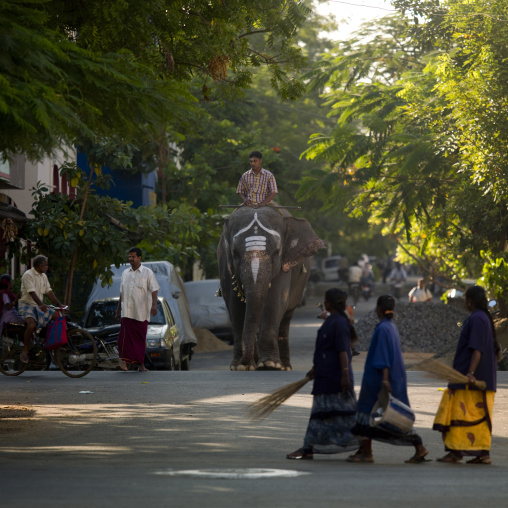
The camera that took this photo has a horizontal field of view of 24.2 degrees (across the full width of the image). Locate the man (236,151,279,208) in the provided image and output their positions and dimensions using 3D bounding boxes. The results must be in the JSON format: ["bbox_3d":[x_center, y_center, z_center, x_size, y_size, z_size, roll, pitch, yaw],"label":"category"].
[{"bbox_3d":[0.003,-1.038,16.910,0.519,0.873,0.469,0,8,3],"label":"man"}]

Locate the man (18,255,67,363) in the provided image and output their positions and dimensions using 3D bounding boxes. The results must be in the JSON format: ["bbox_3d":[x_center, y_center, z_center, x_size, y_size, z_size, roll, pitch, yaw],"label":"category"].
[{"bbox_3d":[-2.860,0.726,15.582,0.557,1.422,0.434,3,0,-14],"label":"man"}]

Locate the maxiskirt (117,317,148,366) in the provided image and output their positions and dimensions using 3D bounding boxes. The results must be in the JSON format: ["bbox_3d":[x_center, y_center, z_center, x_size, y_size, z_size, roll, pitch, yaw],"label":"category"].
[{"bbox_3d":[-1.663,1.164,15.902,0.368,0.626,0.291,3,0,-9],"label":"maxiskirt"}]

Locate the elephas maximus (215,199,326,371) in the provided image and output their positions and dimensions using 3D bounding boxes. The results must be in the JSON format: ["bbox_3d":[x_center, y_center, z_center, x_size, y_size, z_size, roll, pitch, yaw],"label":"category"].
[{"bbox_3d":[0.251,0.522,17.512,1.399,2.424,3.526,1,-5,5],"label":"elephas maximus"}]

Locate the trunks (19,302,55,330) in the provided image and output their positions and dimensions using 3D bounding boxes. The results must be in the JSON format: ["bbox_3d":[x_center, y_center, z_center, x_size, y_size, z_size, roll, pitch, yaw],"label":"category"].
[{"bbox_3d":[-2.892,0.784,15.494,0.355,0.395,0.151,0,30,-7],"label":"trunks"}]

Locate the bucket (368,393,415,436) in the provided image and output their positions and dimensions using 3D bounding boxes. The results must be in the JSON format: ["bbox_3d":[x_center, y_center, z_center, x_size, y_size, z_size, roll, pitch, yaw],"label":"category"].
[{"bbox_3d":[1.154,1.331,10.238,0.327,0.386,0.343,13,7,-1],"label":"bucket"}]

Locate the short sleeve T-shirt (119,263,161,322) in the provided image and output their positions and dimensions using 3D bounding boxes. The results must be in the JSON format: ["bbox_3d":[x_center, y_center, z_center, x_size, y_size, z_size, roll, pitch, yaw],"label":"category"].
[{"bbox_3d":[-1.570,0.528,15.955,0.506,0.741,0.396,3,0,-13],"label":"short sleeve T-shirt"}]

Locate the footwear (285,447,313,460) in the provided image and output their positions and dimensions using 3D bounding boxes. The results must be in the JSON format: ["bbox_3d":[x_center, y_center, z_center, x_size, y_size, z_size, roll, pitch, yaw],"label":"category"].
[{"bbox_3d":[0.393,1.706,10.267,0.262,0.127,0.094,4,-2,-7],"label":"footwear"}]

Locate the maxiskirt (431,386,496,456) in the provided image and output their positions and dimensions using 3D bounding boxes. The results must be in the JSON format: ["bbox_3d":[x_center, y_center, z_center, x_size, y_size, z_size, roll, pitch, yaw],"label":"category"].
[{"bbox_3d":[1.856,1.494,10.511,0.519,0.559,0.296,3,0,12],"label":"maxiskirt"}]

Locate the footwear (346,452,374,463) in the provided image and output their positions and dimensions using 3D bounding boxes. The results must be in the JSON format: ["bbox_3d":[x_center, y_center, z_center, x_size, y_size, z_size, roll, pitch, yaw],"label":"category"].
[{"bbox_3d":[0.925,1.782,10.332,0.221,0.107,0.093,9,-9,6],"label":"footwear"}]

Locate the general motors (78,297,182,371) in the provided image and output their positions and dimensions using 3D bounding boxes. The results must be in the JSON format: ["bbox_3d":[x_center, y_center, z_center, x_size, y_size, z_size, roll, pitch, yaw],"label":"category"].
[{"bbox_3d":[-1.931,1.313,18.374,1.349,1.425,2.815,-4,-5,1],"label":"general motors"}]

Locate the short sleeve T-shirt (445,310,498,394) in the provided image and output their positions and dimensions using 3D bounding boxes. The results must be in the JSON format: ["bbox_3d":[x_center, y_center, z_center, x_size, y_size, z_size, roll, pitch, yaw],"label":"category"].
[{"bbox_3d":[2.005,0.826,10.920,0.522,1.016,0.852,7,-3,10],"label":"short sleeve T-shirt"}]

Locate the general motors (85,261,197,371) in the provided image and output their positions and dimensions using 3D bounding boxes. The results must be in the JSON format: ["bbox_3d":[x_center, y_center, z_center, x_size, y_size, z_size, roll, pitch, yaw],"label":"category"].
[{"bbox_3d":[-1.857,0.974,21.544,1.231,1.547,2.418,-1,-7,6],"label":"general motors"}]

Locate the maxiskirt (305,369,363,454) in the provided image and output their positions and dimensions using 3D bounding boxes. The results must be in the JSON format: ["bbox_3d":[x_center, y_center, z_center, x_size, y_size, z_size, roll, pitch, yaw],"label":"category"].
[{"bbox_3d":[0.687,1.453,10.476,0.495,0.635,0.394,-6,-23,13],"label":"maxiskirt"}]

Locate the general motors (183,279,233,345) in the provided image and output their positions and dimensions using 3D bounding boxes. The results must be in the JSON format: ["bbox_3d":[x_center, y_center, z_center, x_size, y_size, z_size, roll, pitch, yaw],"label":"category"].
[{"bbox_3d":[-1.140,1.250,28.645,1.095,1.102,2.094,-11,7,-1],"label":"general motors"}]

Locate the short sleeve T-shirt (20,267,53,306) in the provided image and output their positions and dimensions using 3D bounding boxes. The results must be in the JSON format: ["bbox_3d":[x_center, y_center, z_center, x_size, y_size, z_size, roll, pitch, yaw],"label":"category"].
[{"bbox_3d":[-2.913,0.426,15.636,0.247,0.455,0.429,-1,-4,34],"label":"short sleeve T-shirt"}]
